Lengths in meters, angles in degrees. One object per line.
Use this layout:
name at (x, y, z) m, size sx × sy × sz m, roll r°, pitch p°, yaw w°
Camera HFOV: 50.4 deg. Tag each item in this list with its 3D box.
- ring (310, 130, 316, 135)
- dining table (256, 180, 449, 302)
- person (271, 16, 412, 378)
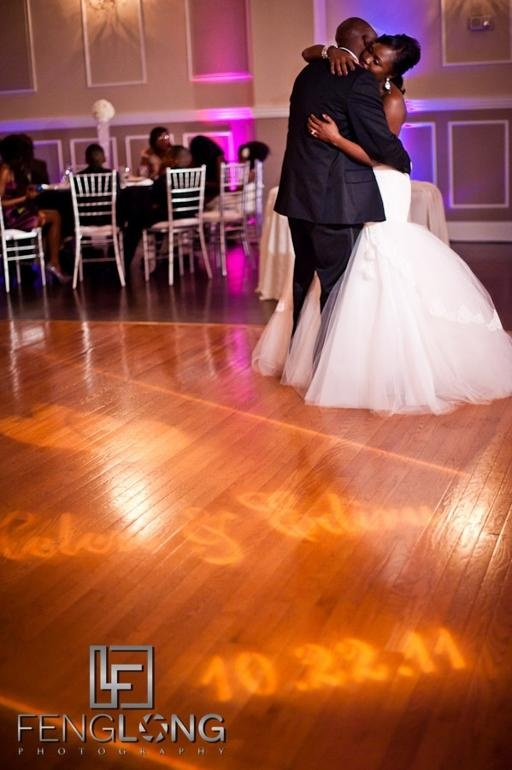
ring at (0.235, -1.052, 2.253) m, size 0.015 × 0.022 × 0.006 m, roll -1°, pitch 1°, yaw -4°
dining table at (0.590, -1.266, 4.661) m, size 1.225 × 0.809 × 1.271 m, roll -4°, pitch 7°, yaw -26°
person at (0.358, -0.804, 2.456) m, size 0.580 × 1.201 × 0.355 m, roll 1°, pitch 11°, yaw 25°
